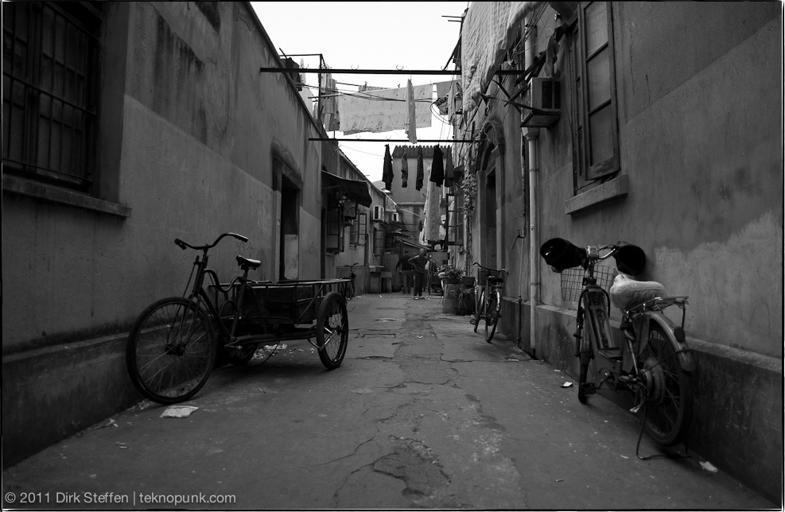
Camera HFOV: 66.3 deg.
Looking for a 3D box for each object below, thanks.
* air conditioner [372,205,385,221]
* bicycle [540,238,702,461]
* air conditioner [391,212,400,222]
[{"bbox_3d":[-0.704,-2.097,29.371,0.320,1.033,1.042,-1,-2,9],"label":"air conditioner"},{"bbox_3d":[2.060,0.744,5.391,0.699,1.674,1.766,-1,9,-10],"label":"bicycle"},{"bbox_3d":[0.151,-2.170,33.897,0.413,0.600,0.584,-1,1,8],"label":"air conditioner"}]
